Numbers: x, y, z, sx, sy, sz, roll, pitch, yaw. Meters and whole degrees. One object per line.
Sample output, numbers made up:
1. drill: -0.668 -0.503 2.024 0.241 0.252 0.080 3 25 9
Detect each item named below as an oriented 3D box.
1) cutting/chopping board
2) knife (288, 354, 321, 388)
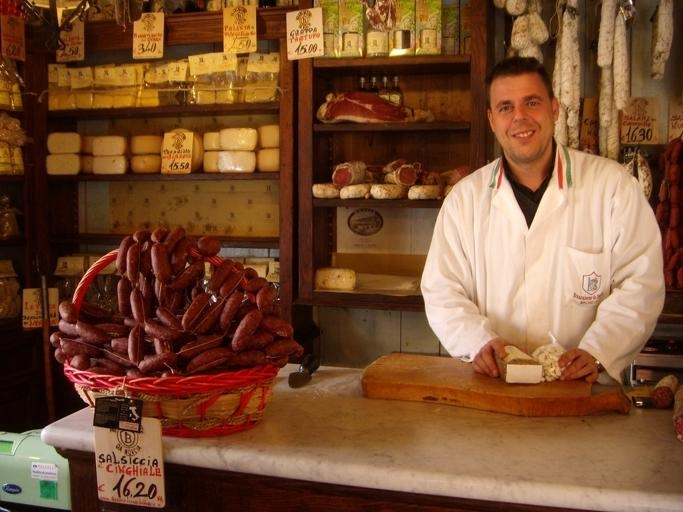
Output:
1. cutting/chopping board: 0.533 0.504 2.149 0.886 0.104 0.553 1 -7 22
2. knife: -0.147 0.425 2.228 0.065 0.081 0.231 17 6 19
